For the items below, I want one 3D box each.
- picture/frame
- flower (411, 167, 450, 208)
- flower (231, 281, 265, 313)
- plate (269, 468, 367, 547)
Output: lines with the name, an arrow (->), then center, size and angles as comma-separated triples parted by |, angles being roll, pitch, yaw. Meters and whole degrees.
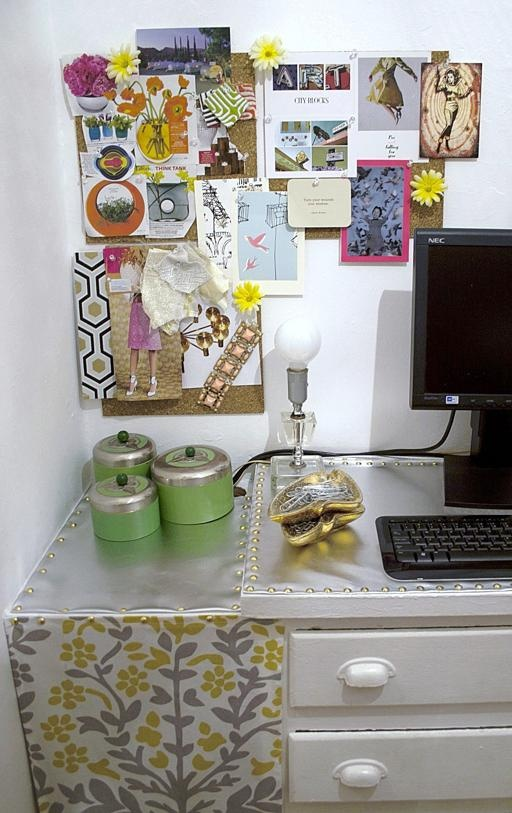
picture/frame -> 0.218, -0.368, 1.210 | 0.159, 0.217, 0.009 | 0, 6, -2
flower -> 0.311, -0.396, 1.193 | 0.064, 0.066, 0.032 | 2, 20, 10
flower -> -0.016, -0.208, 1.246 | 0.054, 0.057, 0.024 | -11, 15, 12
plate -> 0.096, 0.151, 1.014 | 0.122, 0.052, 0.101 | -20, 22, -24
